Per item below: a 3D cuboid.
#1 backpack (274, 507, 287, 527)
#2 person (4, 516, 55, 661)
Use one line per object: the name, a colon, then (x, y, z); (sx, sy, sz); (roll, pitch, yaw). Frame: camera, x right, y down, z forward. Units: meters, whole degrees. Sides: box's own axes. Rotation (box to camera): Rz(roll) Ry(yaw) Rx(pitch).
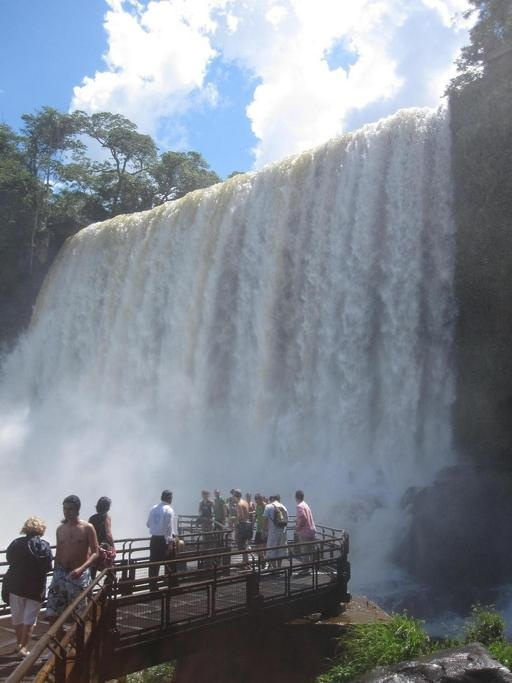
backpack: (0.355, 2.535, 9.172); (0.205, 0.263, 0.114); (25, -50, -36)
person: (-2.265, 2.463, 6.347); (0.456, 1.356, 0.433); (-10, -12, 42)
